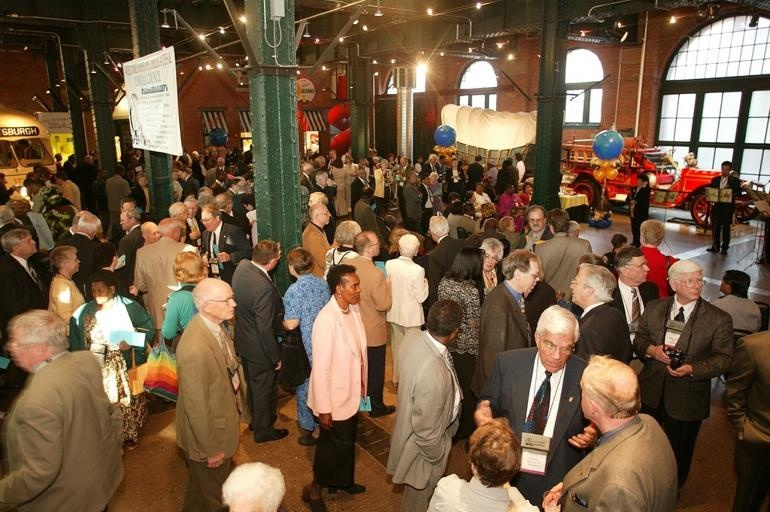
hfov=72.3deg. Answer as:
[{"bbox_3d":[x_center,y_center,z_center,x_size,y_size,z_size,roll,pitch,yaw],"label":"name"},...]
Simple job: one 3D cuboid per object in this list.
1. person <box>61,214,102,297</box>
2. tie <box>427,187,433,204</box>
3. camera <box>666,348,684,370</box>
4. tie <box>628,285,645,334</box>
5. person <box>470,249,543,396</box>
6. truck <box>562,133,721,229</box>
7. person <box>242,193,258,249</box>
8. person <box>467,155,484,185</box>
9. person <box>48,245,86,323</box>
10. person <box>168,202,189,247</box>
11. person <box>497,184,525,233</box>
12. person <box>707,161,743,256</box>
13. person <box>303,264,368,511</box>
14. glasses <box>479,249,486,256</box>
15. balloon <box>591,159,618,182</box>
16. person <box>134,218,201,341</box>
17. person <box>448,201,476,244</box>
[{"bbox_3d":[-4.130,0.117,7.171,0.363,1.196,0.373,-23,-27,-3],"label":"person"},{"bbox_3d":[1.171,-1.527,13.351,0.076,0.321,0.224,3,11,0],"label":"tie"},{"bbox_3d":[2.883,1.013,5.210,0.155,0.181,0.106,-5,4,23],"label":"camera"},{"bbox_3d":[2.869,0.617,6.009,0.093,0.434,0.233,14,-16,-38],"label":"tie"},{"bbox_3d":[1.259,0.716,5.457,0.672,2.035,0.996,-1,21,2],"label":"person"},{"bbox_3d":[6.976,-1.833,15.724,4.762,2.311,2.462,13,20,39],"label":"truck"},{"bbox_3d":[-2.412,-0.581,9.433,0.227,0.814,0.221,-13,6,-41],"label":"person"},{"bbox_3d":[2.661,-2.473,15.372,0.465,0.910,1.504,1,10,9],"label":"person"},{"bbox_3d":[-3.754,0.341,6.219,0.346,1.020,0.563,-7,22,-33],"label":"person"},{"bbox_3d":[-3.275,-0.422,8.348,0.309,0.847,0.445,-4,19,-31],"label":"person"},{"bbox_3d":[2.854,-0.929,11.789,0.546,1.273,0.693,-9,21,-7],"label":"person"},{"bbox_3d":[7.818,-1.127,12.184,0.601,2.074,0.966,6,12,34],"label":"person"},{"bbox_3d":[-0.487,1.368,5.427,0.705,2.559,0.383,-8,13,-40],"label":"person"},{"bbox_3d":[1.135,-0.037,6.059,0.077,0.084,0.059,10,-9,-14],"label":"glasses"},{"bbox_3d":[6.162,-2.448,14.752,0.617,0.545,0.667,3,10,19],"label":"balloon"},{"bbox_3d":[-3.002,0.625,7.302,0.794,2.203,0.738,4,14,-15],"label":"person"},{"bbox_3d":[1.322,-0.552,8.970,0.359,1.058,0.347,22,47,32],"label":"person"}]
